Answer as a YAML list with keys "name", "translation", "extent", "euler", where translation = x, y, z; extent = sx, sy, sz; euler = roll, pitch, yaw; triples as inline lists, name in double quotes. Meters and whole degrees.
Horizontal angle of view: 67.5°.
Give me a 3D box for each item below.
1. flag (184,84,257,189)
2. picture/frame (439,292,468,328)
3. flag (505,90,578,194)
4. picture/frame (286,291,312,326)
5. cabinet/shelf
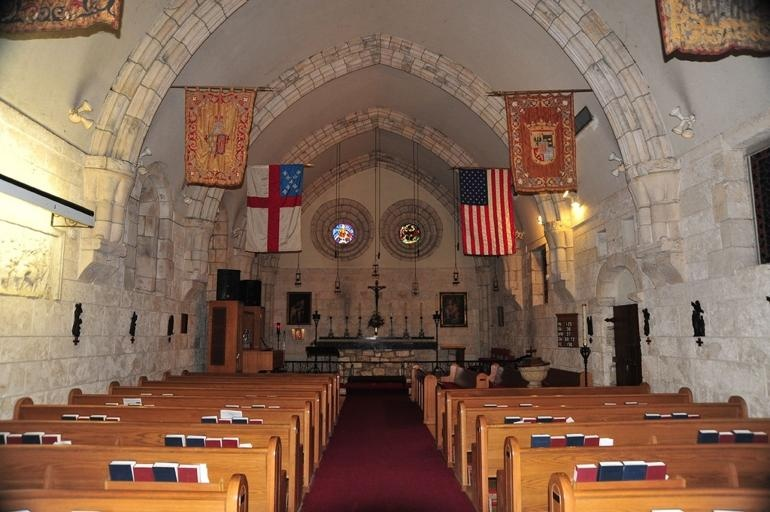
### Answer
- name: "flag"
  translation: [-3.128, -2.257, 10.863]
  extent: [1.334, 1.905, 0.203]
  euler: [2, -5, 3]
- name: "picture/frame"
  translation: [2.591, 2.117, 22.283]
  extent: [1.174, 1.538, 0.156]
  euler: [1, -9, -8]
- name: "flag"
  translation: [2.949, -2.152, 11.299]
  extent: [1.135, 2.003, 0.909]
  euler: [0, 0, 3]
- name: "picture/frame"
  translation: [-3.283, 2.048, 22.088]
  extent: [1.166, 1.497, 0.151]
  euler: [-1, -3, 3]
- name: "cabinet/shelf"
  translation: [-4.079, 2.253, 16.060]
  extent: [0.833, 1.909, 2.840]
  euler: [0, -7, 6]
